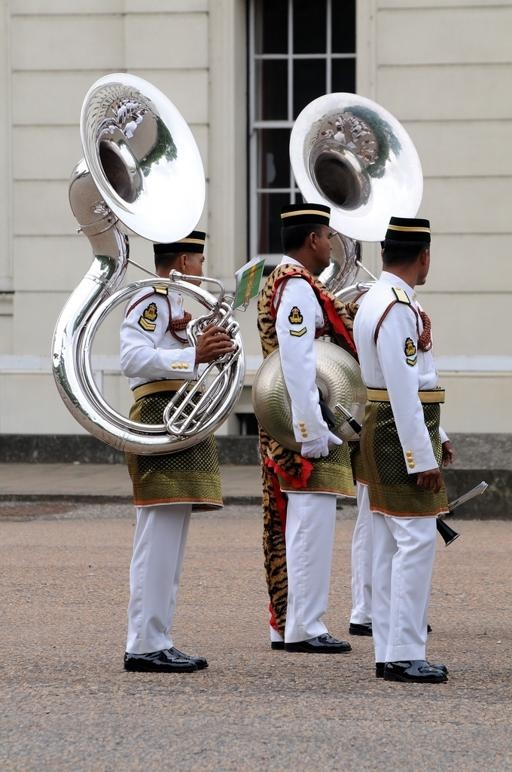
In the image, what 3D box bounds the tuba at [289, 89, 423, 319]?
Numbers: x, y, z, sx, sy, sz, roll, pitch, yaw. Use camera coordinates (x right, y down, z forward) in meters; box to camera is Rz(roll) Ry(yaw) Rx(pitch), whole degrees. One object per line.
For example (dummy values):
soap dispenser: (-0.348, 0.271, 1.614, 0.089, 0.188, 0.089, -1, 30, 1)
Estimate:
tuba: (0.543, -1.034, 8.902, 0.746, 1.187, 0.638, 1, 11, -19)
